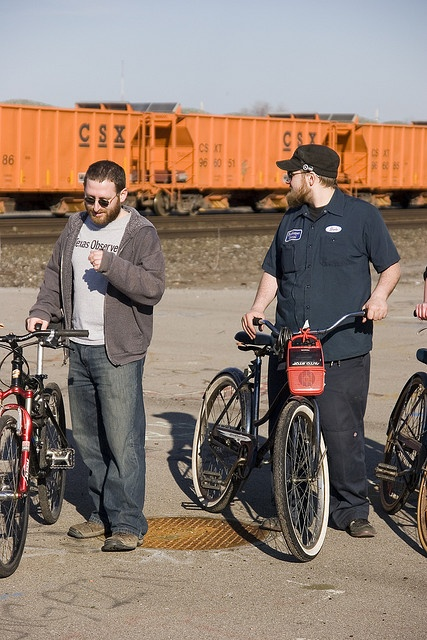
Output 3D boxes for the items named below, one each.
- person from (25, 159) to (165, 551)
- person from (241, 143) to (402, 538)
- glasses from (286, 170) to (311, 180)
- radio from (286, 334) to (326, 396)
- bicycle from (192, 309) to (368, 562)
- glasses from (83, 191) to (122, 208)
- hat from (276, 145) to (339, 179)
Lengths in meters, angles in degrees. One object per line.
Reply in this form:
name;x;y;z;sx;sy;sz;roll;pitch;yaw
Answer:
person;-0.509;0.151;4.320;0.883;1.721;1.024;2;21;-4
person;0.602;0.088;4.543;0.766;1.852;0.887;1;2;8
glasses;0.428;-0.728;4.441;0.089;0.024;0.083;-1;2;-13
radio;0.427;0.206;4.109;0.181;0.285;0.079;-1;-8;2
bicycle;0.303;0.501;4.455;0.492;1.164;1.267;-3;8;-22
glasses;-0.518;-0.561;4.177;0.158;0.073;0.062;-1;8;-8
hat;0.478;-0.796;4.466;0.298;0.177;0.206;1;8;3
